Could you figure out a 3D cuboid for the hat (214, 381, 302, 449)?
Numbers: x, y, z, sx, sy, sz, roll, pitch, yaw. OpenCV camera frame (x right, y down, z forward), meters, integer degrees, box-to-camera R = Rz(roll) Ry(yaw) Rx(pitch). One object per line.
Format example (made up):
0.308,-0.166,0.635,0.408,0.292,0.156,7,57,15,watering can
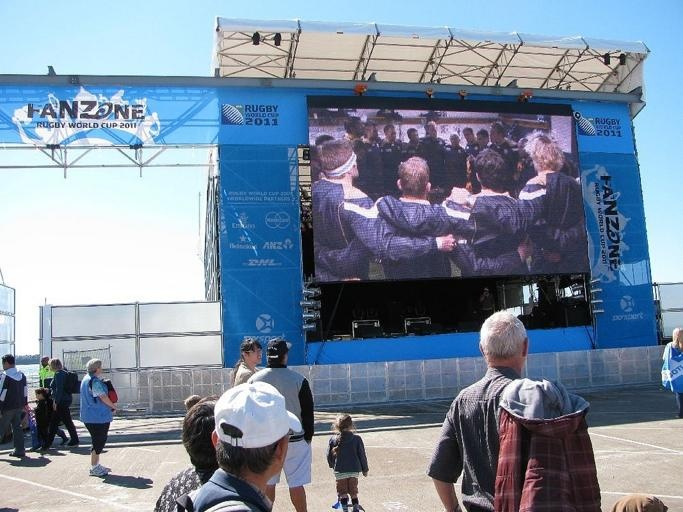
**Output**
-0.811,1.480,6.731,0.515,0.342,0.687,11,13,34,hat

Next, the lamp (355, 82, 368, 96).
0.605,-5.317,22.701,0.351,0.465,0.351,0,4,-11,lamp

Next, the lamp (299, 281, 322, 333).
-0.993,1.570,21.776,0.786,1.849,1.463,0,-6,1,lamp

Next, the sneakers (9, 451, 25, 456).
-6.577,3.994,14.391,0.429,0.115,0.145,-7,-6,36,sneakers

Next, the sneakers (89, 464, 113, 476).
-4.358,3.830,12.848,0.400,0.250,0.167,2,-1,-11,sneakers

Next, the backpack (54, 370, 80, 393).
-6.041,2.759,15.801,0.627,0.641,0.450,-3,-1,-11,backpack

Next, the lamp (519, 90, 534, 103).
6.236,-5.345,24.026,0.417,0.299,0.415,-4,-13,21,lamp

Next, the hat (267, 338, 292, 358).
-0.850,1.317,10.001,0.272,0.196,0.392,14,24,41,hat

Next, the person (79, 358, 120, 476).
-4.394,2.895,12.835,0.587,2.068,0.698,-2,-5,-19,person
